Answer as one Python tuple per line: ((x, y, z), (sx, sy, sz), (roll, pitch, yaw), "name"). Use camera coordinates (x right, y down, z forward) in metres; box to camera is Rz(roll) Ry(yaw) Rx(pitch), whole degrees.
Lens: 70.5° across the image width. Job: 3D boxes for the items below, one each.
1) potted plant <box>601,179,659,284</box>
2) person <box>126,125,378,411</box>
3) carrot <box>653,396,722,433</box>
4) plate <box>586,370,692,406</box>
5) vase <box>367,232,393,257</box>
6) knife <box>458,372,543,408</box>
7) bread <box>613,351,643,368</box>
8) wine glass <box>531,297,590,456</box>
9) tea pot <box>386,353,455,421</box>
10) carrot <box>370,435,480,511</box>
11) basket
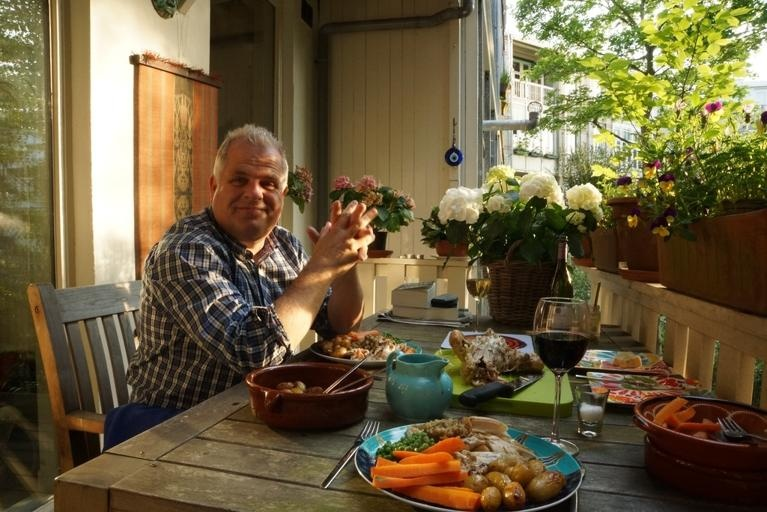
((0.982, -0.122, 2.118), (0.239, 0.418, 0.233), (2, 9, 10), "potted plant")
((-0.468, 0.083, 2.020), (0.729, 1.222, 0.741), (8, 7, -24), "person")
((0.705, 0.354, 1.277), (0.096, 0.078, 0.117), (0, 0, 34), "carrot")
((0.761, 0.347, 1.656), (0.297, 0.081, 0.315), (4, 3, 31), "plate")
((-0.017, -0.075, 3.642), (0.155, 0.137, 0.156), (-1, -1, 45), "vase")
((0.370, 0.379, 1.585), (0.380, 0.042, 0.086), (-5, 6, -38), "knife")
((0.810, 0.337, 1.806), (0.056, 0.021, 0.056), (-7, 10, -40), "bread")
((0.431, 0.289, 1.394), (0.132, 0.384, 0.134), (5, 1, 9), "wine glass")
((0.086, 0.358, 1.518), (0.176, 0.164, 0.214), (-2, 5, -42), "tea pot")
((0.092, 0.428, 1.146), (0.165, 0.119, 0.143), (-1, 10, -25), "carrot")
((0.632, 0.135, 2.544), (0.337, 0.383, 0.323), (6, -5, 12), "basket")
